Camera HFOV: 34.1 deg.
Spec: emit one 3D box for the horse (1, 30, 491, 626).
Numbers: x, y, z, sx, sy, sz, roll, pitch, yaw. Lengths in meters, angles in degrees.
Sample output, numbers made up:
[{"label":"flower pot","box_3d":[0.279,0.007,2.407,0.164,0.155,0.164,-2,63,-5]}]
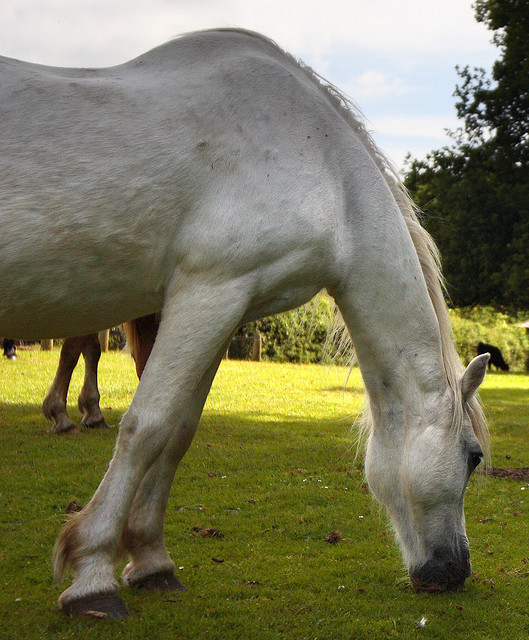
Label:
[{"label":"horse","box_3d":[-0.111,0.070,4.326,2.357,2.992,0.654,-1,6,-26]}]
